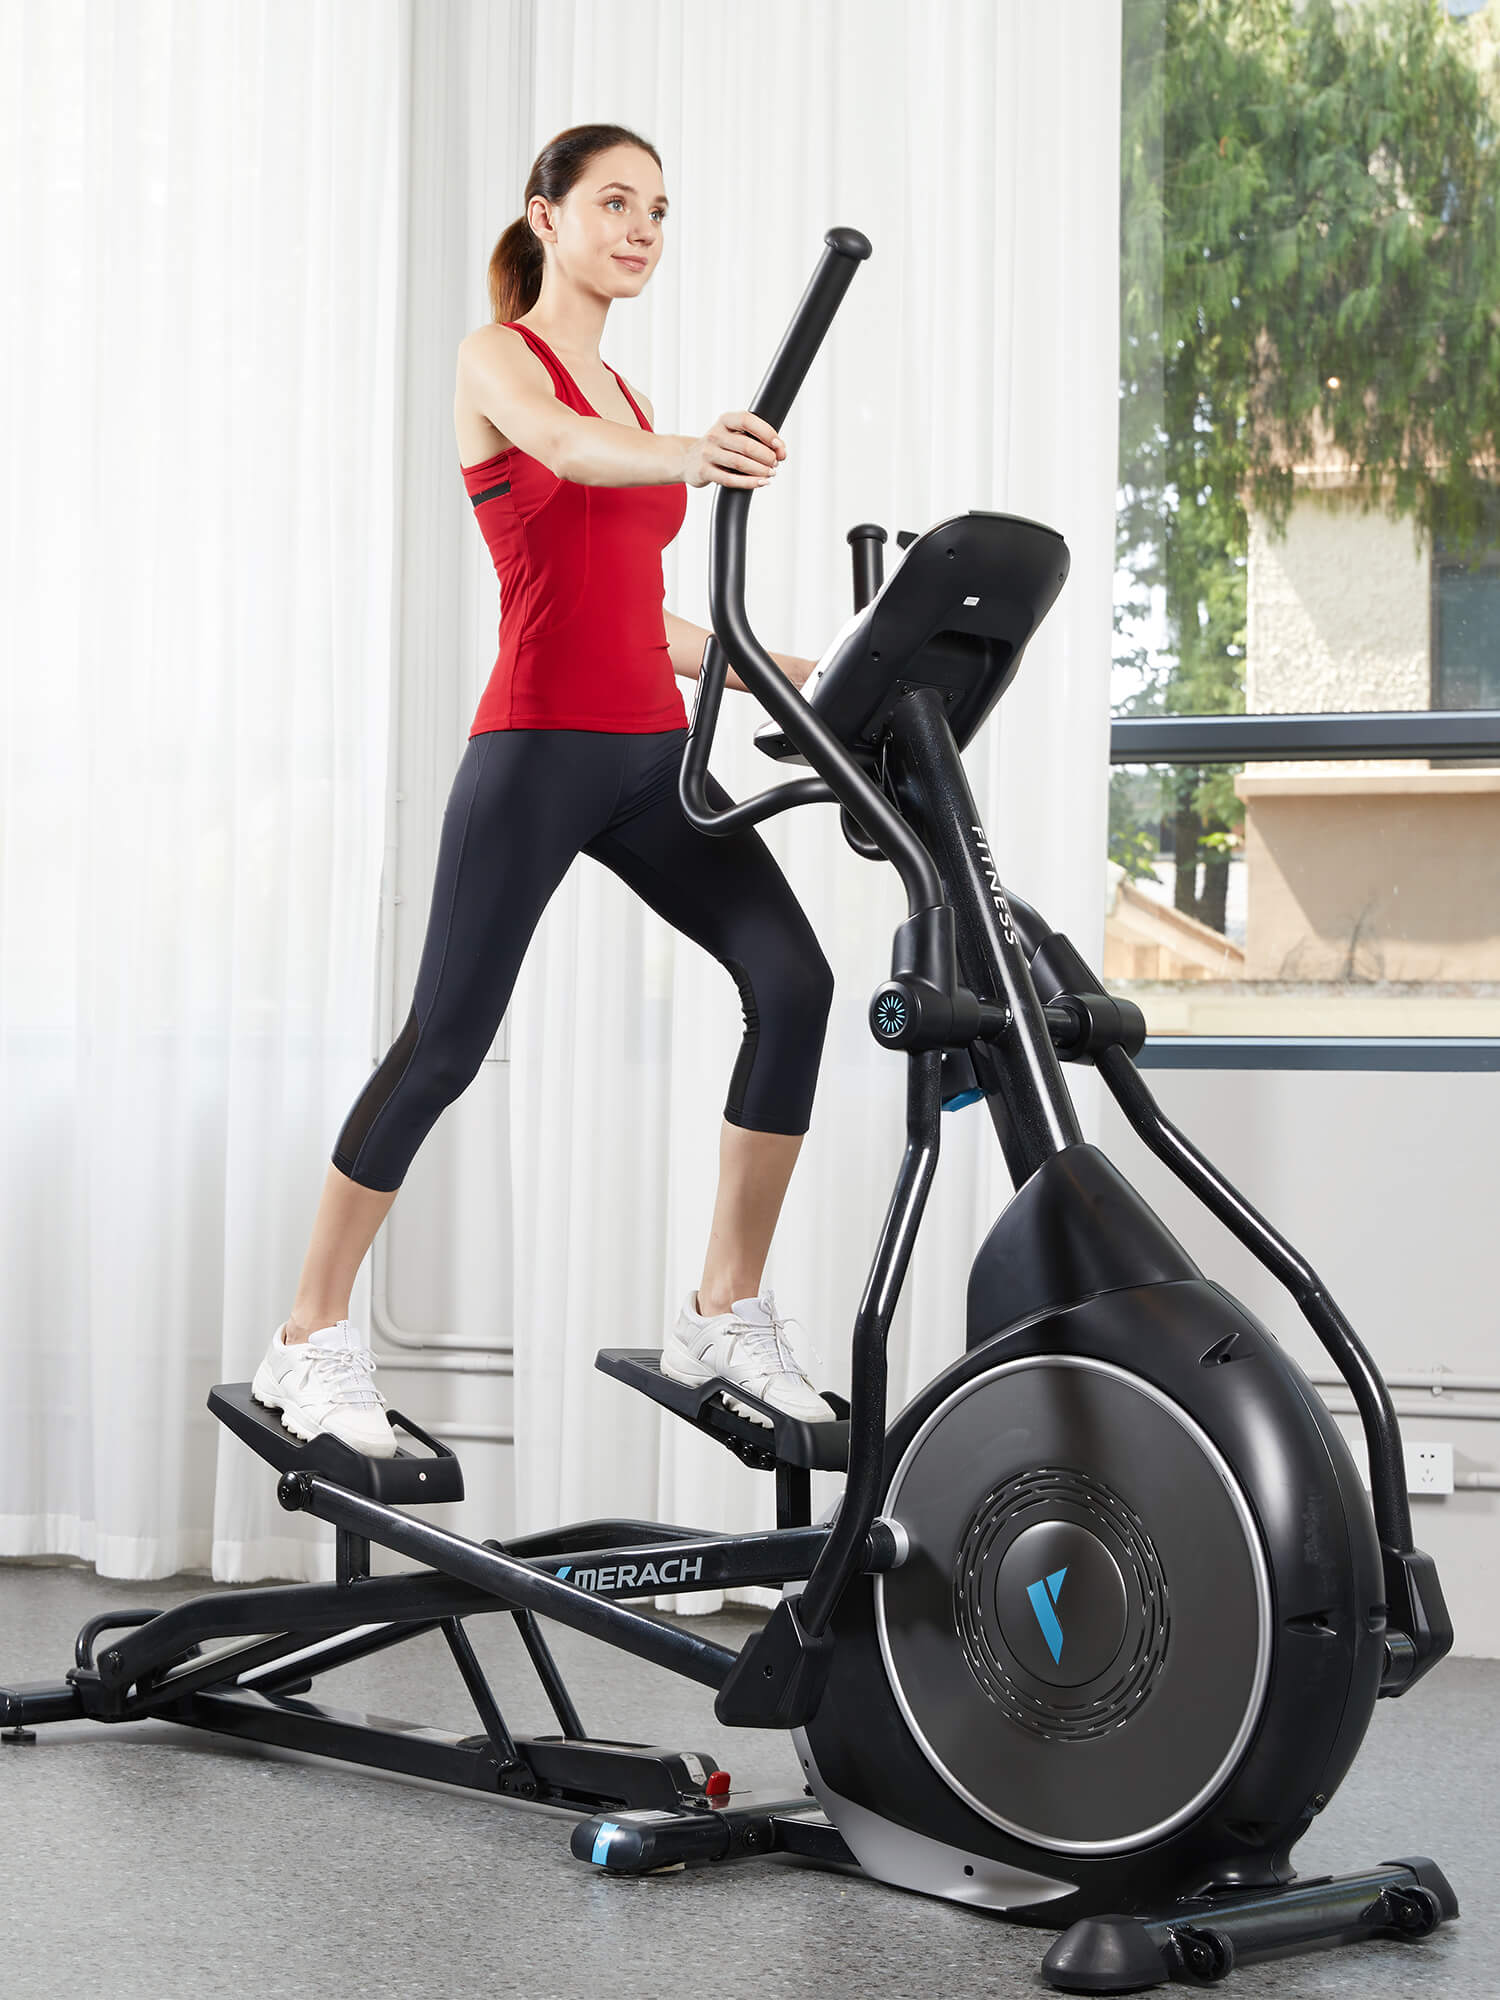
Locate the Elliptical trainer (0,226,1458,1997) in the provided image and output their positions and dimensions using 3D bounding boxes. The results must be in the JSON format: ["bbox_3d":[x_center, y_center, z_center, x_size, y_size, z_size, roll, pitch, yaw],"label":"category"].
[{"bbox_3d":[0.045,0.092,1.605,0.433,1.143,0.954,7,-10,-39],"label":"Elliptical trainer"}]

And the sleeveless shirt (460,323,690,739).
[{"bbox_3d":[-0.163,-0.463,1.987,0.218,0.414,0.158,-1,13,0],"label":"sleeveless shirt"}]

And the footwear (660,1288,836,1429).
[{"bbox_3d":[0.001,0.306,1.781,0.068,0.081,0.189,4,9,-43],"label":"footwear"}]

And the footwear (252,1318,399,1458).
[{"bbox_3d":[-0.390,0.347,1.869,0.092,0.090,0.210,9,8,-38],"label":"footwear"}]
